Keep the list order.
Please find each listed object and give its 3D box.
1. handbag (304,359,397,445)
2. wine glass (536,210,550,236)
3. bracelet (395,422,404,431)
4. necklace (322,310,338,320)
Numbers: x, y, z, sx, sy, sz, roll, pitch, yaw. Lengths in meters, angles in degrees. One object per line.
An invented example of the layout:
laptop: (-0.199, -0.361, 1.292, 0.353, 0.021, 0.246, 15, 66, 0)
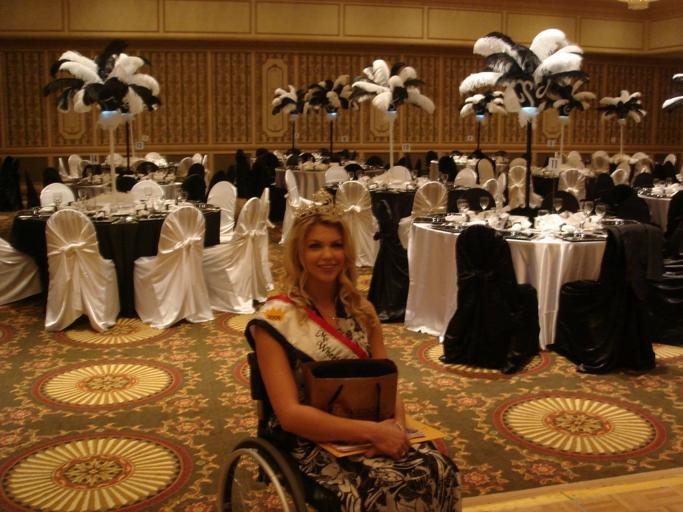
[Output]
handbag: (0.028, 0.456, 1.850, 0.306, 0.244, 0.201, 0, -2, -5)
wine glass: (1.780, -0.284, 4.900, 0.139, 0.147, 0.241, 0, 29, 11)
bracelet: (0.188, 0.570, 1.839, 0.010, 0.034, 0.024, -31, 23, -10)
necklace: (-0.050, 0.227, 2.112, 0.039, 0.041, 0.041, -1, 7, 3)
